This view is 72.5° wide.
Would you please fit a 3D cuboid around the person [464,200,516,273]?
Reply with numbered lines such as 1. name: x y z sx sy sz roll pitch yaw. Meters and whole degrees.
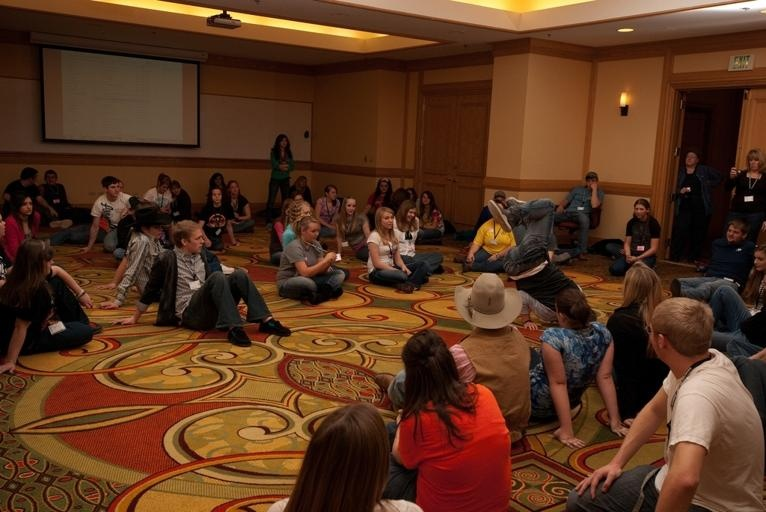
1. person: 1.748 -0.317 8.444 0.942 1.110 0.843 -12 21 -16

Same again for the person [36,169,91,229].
1. person: -6.612 -1.158 10.828 1.225 1.225 0.795 10 20 24

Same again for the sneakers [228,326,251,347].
1. sneakers: -1.423 0.794 5.163 0.131 0.107 0.279 -6 8 -33

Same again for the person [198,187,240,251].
1. person: -3.084 -0.702 9.699 0.729 1.119 0.764 25 26 30

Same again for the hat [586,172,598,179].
1. hat: 4.180 -1.611 10.423 0.144 0.161 0.180 -8 9 -42

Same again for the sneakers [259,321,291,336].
1. sneakers: -1.076 0.731 5.459 0.403 0.157 0.138 4 12 19

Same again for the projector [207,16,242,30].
1. projector: -2.549 -3.784 8.304 0.479 0.246 0.356 14 18 41

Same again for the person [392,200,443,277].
1. person: 0.475 -0.279 8.095 0.813 1.177 0.689 16 21 38

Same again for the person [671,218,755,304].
1. person: 4.345 0.096 6.907 1.527 0.918 0.699 -16 18 -25

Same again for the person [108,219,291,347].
1. person: -1.801 0.211 5.549 1.707 1.057 0.993 7 8 21

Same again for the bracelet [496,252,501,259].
1. bracelet: 1.847 -0.020 8.309 0.077 0.074 0.026 2 -29 43

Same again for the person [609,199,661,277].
1. person: 4.241 -0.319 8.796 0.790 1.235 0.947 1 17 23

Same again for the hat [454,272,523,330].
1. hat: 0.710 0.230 3.543 0.456 0.207 0.553 -1 22 0

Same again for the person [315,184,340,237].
1. person: -1.081 -0.920 10.683 0.586 0.992 0.728 1 14 -17

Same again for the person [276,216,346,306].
1. person: -0.949 -0.023 7.087 1.022 1.276 1.040 5 13 22

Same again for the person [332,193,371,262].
1. person: -0.493 -0.456 8.929 0.702 1.052 0.796 -18 21 -36

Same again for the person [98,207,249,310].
1. person: -2.772 -0.118 6.460 1.312 1.013 1.685 4 13 22

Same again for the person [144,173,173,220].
1. person: -4.379 -1.201 10.299 0.599 0.807 0.574 10 16 -13

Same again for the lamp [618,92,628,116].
1. lamp: 4.667 -2.941 10.107 0.085 0.446 0.217 -9 17 -38
